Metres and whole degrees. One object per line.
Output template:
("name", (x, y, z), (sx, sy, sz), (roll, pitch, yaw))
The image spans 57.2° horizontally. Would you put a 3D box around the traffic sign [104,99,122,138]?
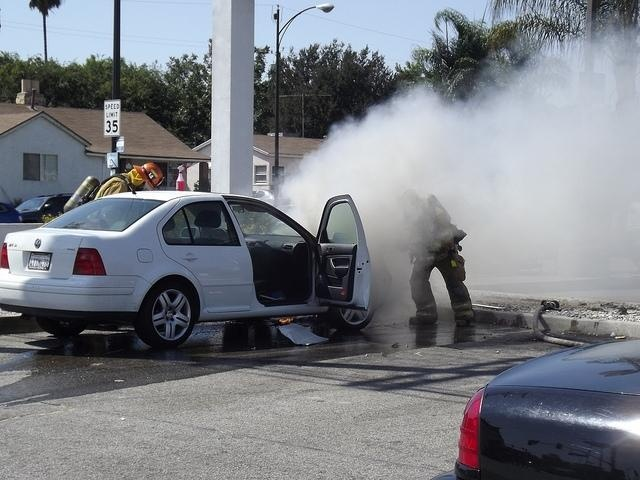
("traffic sign", (-4.474, -2.646, 12.701), (0.277, 0.809, 0.557), (-1, 3, -26))
